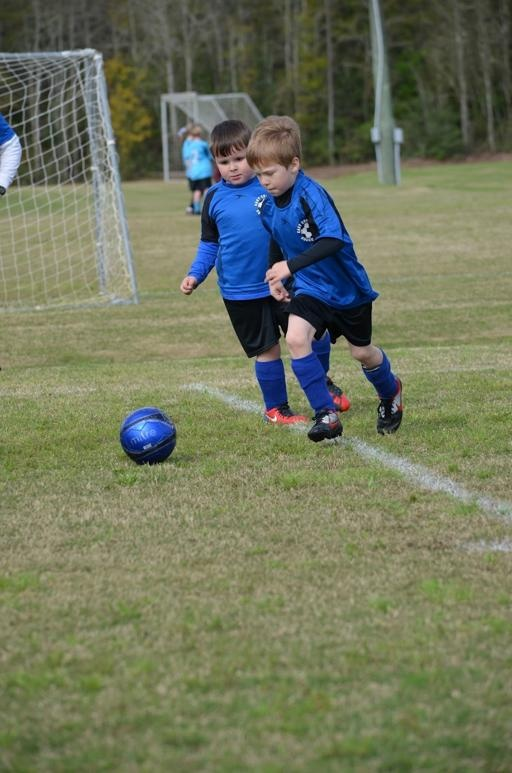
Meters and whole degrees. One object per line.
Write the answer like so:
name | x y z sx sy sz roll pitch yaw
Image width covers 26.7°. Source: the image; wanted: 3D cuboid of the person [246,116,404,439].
person | 0.202 -0.339 3.548 0.421 1.076 0.514 3 16 23

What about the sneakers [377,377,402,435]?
sneakers | 0.475 0.071 3.758 0.082 0.192 0.089 3 0 28

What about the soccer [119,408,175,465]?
soccer | -0.355 0.163 3.485 0.171 0.150 0.196 -5 13 -9
